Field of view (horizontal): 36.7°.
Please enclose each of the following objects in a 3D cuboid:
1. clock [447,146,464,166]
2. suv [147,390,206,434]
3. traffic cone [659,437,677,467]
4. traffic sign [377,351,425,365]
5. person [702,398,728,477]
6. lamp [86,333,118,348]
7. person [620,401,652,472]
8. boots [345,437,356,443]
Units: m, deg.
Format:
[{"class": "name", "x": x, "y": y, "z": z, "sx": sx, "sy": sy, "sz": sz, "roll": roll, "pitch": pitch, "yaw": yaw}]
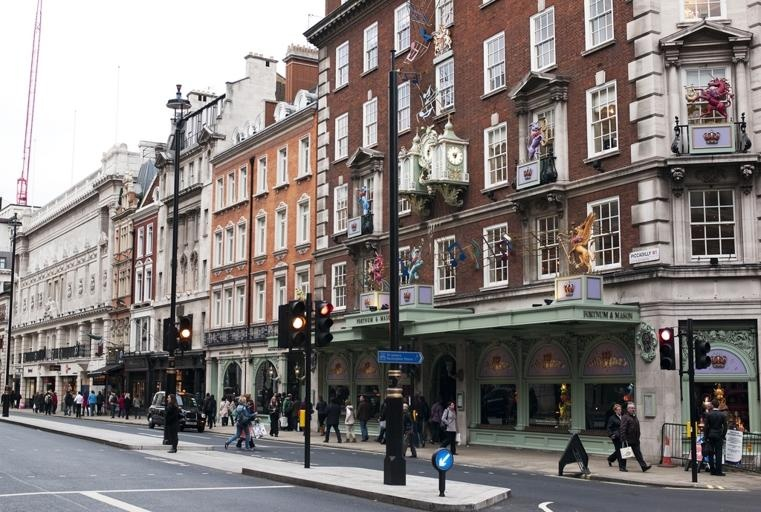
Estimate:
[{"class": "clock", "x": 3.585, "y": -4.778, "z": 55.651, "sx": 0.834, "sy": 0.914, "sz": 0.060, "roll": 5, "pitch": -4, "yaw": -32}, {"class": "suv", "x": -11.397, "y": 8.890, "z": 64.930, "sx": 1.946, "sy": 2.184, "sz": 4.391, "roll": 4, "pitch": -6, "yaw": -37}, {"class": "traffic cone", "x": 11.525, "y": 7.942, "z": 46.183, "sx": 0.858, "sy": 1.158, "sz": 0.867, "roll": 3, "pitch": -8, "yaw": -18}, {"class": "traffic sign", "x": 0.722, "y": 3.645, "z": 41.131, "sx": 1.623, "sy": 0.433, "sz": 0.570, "roll": -5, "pitch": 1, "yaw": -33}, {"class": "person", "x": 12.923, "y": 7.040, "z": 44.471, "sx": 0.884, "sy": 2.790, "sz": 0.906, "roll": -5, "pitch": -7, "yaw": 43}, {"class": "lamp", "x": -23.123, "y": 7.079, "z": 95.940, "sx": 0.415, "sy": 0.421, "sz": 3.056, "roll": 2, "pitch": -21, "yaw": 45}, {"class": "person", "x": 10.068, "y": 7.182, "z": 45.309, "sx": 1.082, "sy": 2.773, "sz": 0.979, "roll": -1, "pitch": 0, "yaw": 25}, {"class": "boots", "x": -1.489, "y": 9.273, "z": 57.604, "sx": 0.486, "sy": 0.368, "sz": 0.195, "roll": 5, "pitch": -10, "yaw": -12}]
